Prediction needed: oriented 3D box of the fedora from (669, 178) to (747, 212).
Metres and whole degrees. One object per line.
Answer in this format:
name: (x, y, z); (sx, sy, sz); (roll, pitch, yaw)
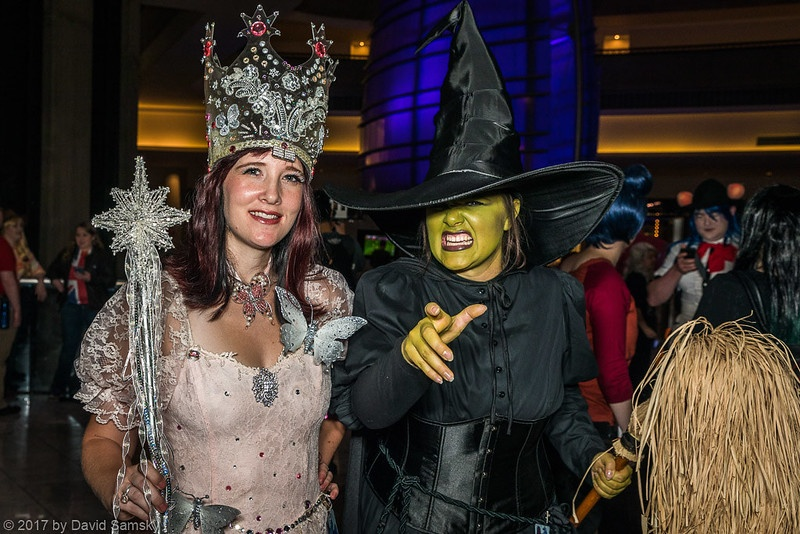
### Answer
fedora: (2.371, -0.528, 6.045); (0.420, 0.191, 0.488); (-3, -5, 23)

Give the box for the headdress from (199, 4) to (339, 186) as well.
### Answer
headdress: (-0.694, -0.745, 4.112); (0.773, 0.818, 0.763); (-5, -9, 39)

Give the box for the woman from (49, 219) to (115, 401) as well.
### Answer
woman: (-3.239, 0.480, 7.953); (0.693, 1.820, 0.571); (1, -5, 13)

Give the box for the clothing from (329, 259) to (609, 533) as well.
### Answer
clothing: (0.255, 0.607, 4.126); (1.729, 1.715, 1.162); (0, 0, -11)

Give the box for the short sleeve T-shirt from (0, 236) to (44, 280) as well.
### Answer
short sleeve T-shirt: (-3.809, -0.094, 8.077); (0.318, 0.415, 0.150); (-19, 11, -26)

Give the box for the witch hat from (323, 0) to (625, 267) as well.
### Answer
witch hat: (0.470, -0.375, 4.072); (1.408, 1.248, 1.305); (-6, -13, 23)

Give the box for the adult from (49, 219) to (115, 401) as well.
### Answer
adult: (-3.240, 0.451, 7.946); (0.689, 1.790, 0.566); (4, -4, -14)

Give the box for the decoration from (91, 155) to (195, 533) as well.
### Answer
decoration: (-1.144, 0.260, 3.446); (0.396, 1.558, 0.169); (4, 0, 9)

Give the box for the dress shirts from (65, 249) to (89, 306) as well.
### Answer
dress shirts: (-3.206, 0.138, 7.906); (0.268, 0.480, 0.117); (4, 4, 20)
